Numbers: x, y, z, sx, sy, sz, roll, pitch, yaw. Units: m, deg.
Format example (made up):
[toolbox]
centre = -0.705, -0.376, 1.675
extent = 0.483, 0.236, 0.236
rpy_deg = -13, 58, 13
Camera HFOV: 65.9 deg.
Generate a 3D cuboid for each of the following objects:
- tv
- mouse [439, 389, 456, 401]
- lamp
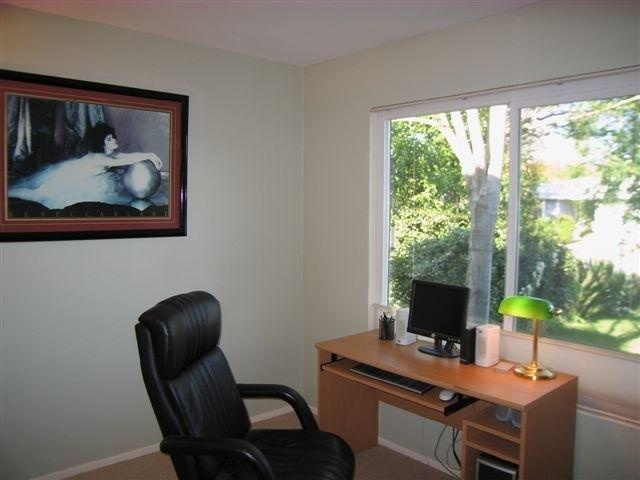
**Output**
[tv]
centre = 0.832, 0.551, 3.445
extent = 0.243, 0.539, 0.463
rpy_deg = 4, -2, -43
[mouse]
centre = 0.790, 0.965, 3.071
extent = 0.082, 0.055, 0.095
rpy_deg = 4, 6, 32
[lamp]
centre = 1.341, 0.591, 3.111
extent = 0.348, 0.484, 0.315
rpy_deg = -4, 8, -42
